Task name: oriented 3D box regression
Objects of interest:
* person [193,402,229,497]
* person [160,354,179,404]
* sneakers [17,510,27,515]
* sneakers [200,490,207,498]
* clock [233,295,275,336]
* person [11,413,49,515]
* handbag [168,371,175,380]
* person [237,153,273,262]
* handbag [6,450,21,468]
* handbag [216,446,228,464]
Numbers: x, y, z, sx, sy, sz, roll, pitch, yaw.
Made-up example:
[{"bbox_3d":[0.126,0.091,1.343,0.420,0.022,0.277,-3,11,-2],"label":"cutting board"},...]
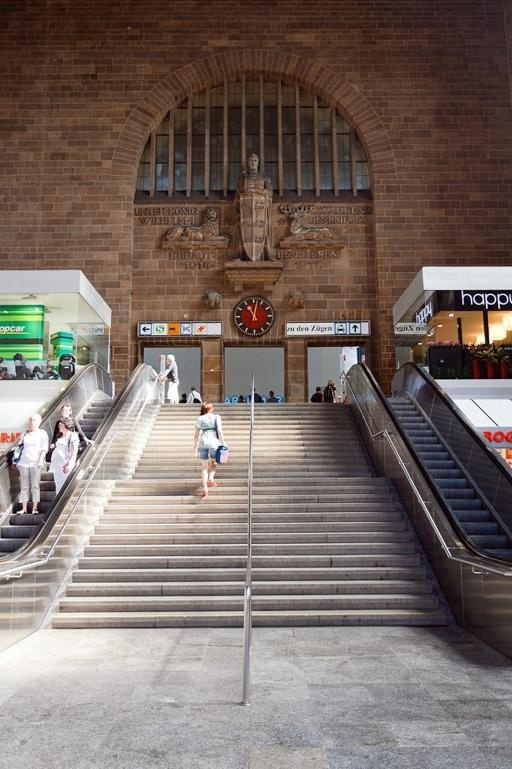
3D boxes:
[{"bbox_3d":[-0.595,0.801,7.383,0.387,1.109,0.966,-1,5,-7],"label":"person"},{"bbox_3d":[-2.259,-0.105,14.869,0.464,1.368,2.198,-2,5,-9],"label":"person"},{"bbox_3d":[-2.611,1.430,6.366,0.069,0.056,0.131,-4,-19,15],"label":"sneakers"},{"bbox_3d":[-0.639,1.351,7.053,0.072,0.136,0.082,8,-16,-29],"label":"sneakers"},{"bbox_3d":[-0.042,-2.064,17.450,1.047,1.219,0.119,-1,-5,2],"label":"clock"},{"bbox_3d":[-2.600,0.918,6.547,0.351,1.080,0.682,-2,5,-15],"label":"person"},{"bbox_3d":[-2.170,-0.231,14.705,0.134,0.306,0.359,-3,6,-26],"label":"handbag"},{"bbox_3d":[-0.027,-5.302,17.257,1.009,3.259,0.610,-1,4,0],"label":"person"},{"bbox_3d":[-2.807,0.851,6.606,0.083,0.105,0.197,-37,25,19],"label":"handbag"},{"bbox_3d":[-0.406,0.858,7.159,0.209,0.196,0.175,-6,7,-43],"label":"handbag"}]
